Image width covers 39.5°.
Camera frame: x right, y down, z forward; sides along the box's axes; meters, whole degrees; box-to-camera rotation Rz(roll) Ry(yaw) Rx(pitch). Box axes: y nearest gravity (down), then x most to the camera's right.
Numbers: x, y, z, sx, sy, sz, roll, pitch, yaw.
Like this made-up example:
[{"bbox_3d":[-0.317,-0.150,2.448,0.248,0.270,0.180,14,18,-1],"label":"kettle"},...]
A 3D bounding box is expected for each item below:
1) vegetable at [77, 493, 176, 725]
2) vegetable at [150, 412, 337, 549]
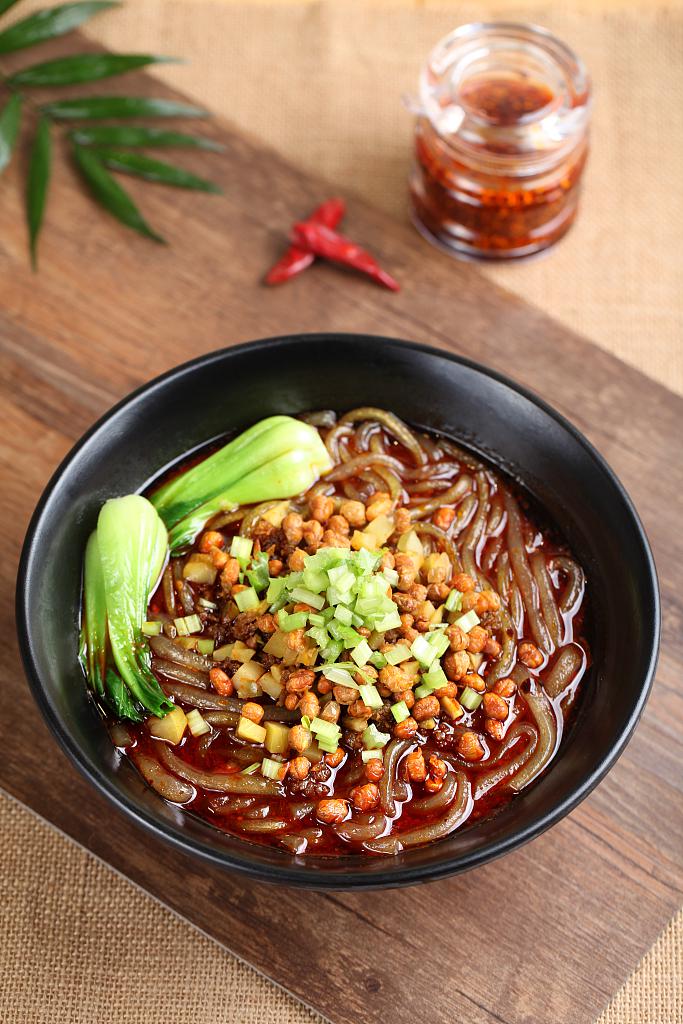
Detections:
[{"bbox_3d":[-0.589,0.272,2.614,0.242,0.176,0.606,-2,77,1],"label":"vegetable"},{"bbox_3d":[-0.264,-0.063,2.864,0.609,0.174,0.246,-24,59,-2],"label":"vegetable"}]
